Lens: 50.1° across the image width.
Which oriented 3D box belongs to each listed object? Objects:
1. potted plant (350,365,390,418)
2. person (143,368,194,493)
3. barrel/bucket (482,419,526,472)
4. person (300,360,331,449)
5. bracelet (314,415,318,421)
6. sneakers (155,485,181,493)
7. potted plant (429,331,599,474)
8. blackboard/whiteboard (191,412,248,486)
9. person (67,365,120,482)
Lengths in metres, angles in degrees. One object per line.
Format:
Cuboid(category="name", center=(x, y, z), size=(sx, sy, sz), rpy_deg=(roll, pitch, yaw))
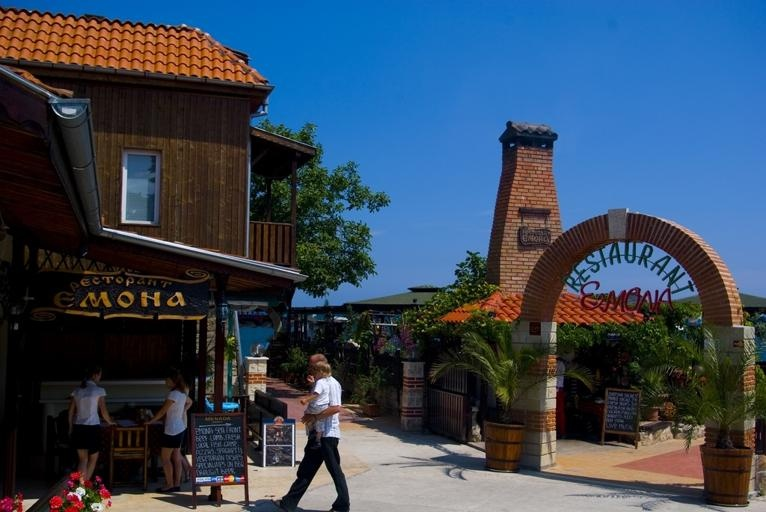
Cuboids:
Cuboid(category="potted plant", center=(-0.212, 4.356, 26.413), size=(1.307, 1.679, 1.666), rpy_deg=(-2, -1, -21))
Cuboid(category="person", center=(-4.184, 3.432, 16.142), size=(0.710, 2.308, 0.910), rpy_deg=(2, -1, -13))
Cuboid(category="barrel/bucket", center=(2.776, 4.400, 18.764), size=(1.034, 0.986, 0.965), rpy_deg=(4, -13, 1))
Cuboid(category="person", center=(-1.169, 2.577, 14.628), size=(0.519, 1.450, 0.517), rpy_deg=(2, -1, -4))
Cuboid(category="bracelet", center=(-1.212, 2.870, 14.558), size=(0.112, 0.101, 0.030), rpy_deg=(2, 10, 10))
Cuboid(category="sneakers", center=(-4.247, 4.571, 16.088), size=(0.449, 0.115, 0.161), rpy_deg=(5, -6, 6))
Cuboid(category="potted plant", center=(2.568, 3.327, 19.149), size=(3.757, 3.065, 2.742), rpy_deg=(1, -6, 39))
Cuboid(category="blackboard/whiteboard", center=(-3.105, 3.640, 15.356), size=(1.398, 1.754, 0.130), rpy_deg=(0, -10, -17))
Cuboid(category="person", center=(-5.627, 3.193, 15.685), size=(0.518, 2.147, 0.629), rpy_deg=(2, -1, 34))
